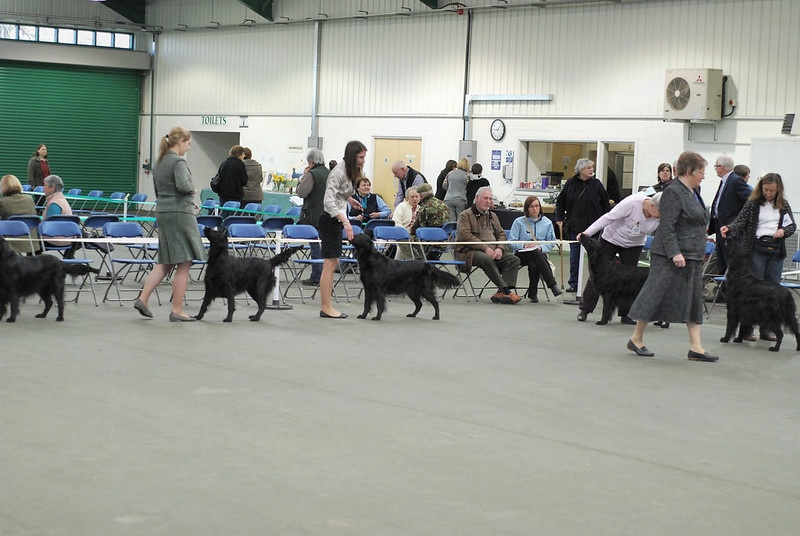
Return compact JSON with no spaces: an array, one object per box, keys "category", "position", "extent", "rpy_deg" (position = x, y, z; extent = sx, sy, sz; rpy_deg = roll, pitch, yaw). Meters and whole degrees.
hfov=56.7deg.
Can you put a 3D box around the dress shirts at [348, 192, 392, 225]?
[{"category":"dress shirts","position":[-0.487,-0.892,12.484],"extent":[0.889,0.633,0.492],"rpy_deg":[-1,-6,-13]}]

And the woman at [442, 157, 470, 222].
[{"category":"woman","position":[1.114,-1.365,14.000],"extent":[0.453,1.428,0.445],"rpy_deg":[12,27,18]}]

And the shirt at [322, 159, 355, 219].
[{"category":"shirt","position":[-0.664,-0.888,8.302],"extent":[0.337,0.639,0.299],"rpy_deg":[1,8,-8]}]

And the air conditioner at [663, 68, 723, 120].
[{"category":"air conditioner","position":[5.797,-3.444,14.720],"extent":[0.601,0.990,1.052],"rpy_deg":[-8,15,-32]}]

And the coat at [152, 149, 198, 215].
[{"category":"coat","position":[-2.352,-0.894,7.752],"extent":[0.479,0.627,0.250],"rpy_deg":[3,8,6]}]

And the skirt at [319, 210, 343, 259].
[{"category":"skirt","position":[-0.760,-0.360,8.288],"extent":[0.262,0.516,0.166],"rpy_deg":[1,8,-7]}]

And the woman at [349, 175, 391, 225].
[{"category":"woman","position":[-0.590,-1.107,12.373],"extent":[0.886,0.791,0.639],"rpy_deg":[-5,10,-20]}]

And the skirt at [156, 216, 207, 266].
[{"category":"skirt","position":[-2.315,-0.242,7.943],"extent":[0.609,0.617,0.432],"rpy_deg":[-2,-1,-27]}]

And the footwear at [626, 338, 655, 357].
[{"category":"footwear","position":[2.363,0.765,7.262],"extent":[0.236,0.104,0.129],"rpy_deg":[20,5,21]}]

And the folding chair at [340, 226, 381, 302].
[{"category":"folding chair","position":[-0.712,-0.129,10.457],"extent":[0.492,0.820,0.556],"rpy_deg":[2,12,-21]}]

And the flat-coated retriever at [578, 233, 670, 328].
[{"category":"flat-coated retriever","position":[2.626,0.160,8.729],"extent":[1.315,0.958,0.452],"rpy_deg":[7,16,-14]}]

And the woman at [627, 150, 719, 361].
[{"category":"woman","position":[2.655,-0.105,7.182],"extent":[0.907,1.926,0.671],"rpy_deg":[2,2,20]}]

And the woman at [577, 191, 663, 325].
[{"category":"woman","position":[2.868,-0.184,9.032],"extent":[1.176,1.558,0.823],"rpy_deg":[17,21,27]}]

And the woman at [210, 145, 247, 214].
[{"category":"woman","position":[-3.094,-1.553,13.448],"extent":[0.580,1.451,0.519],"rpy_deg":[9,20,-4]}]

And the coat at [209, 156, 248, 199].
[{"category":"coat","position":[-3.048,-1.603,13.370],"extent":[0.598,0.812,0.481],"rpy_deg":[2,8,-2]}]
